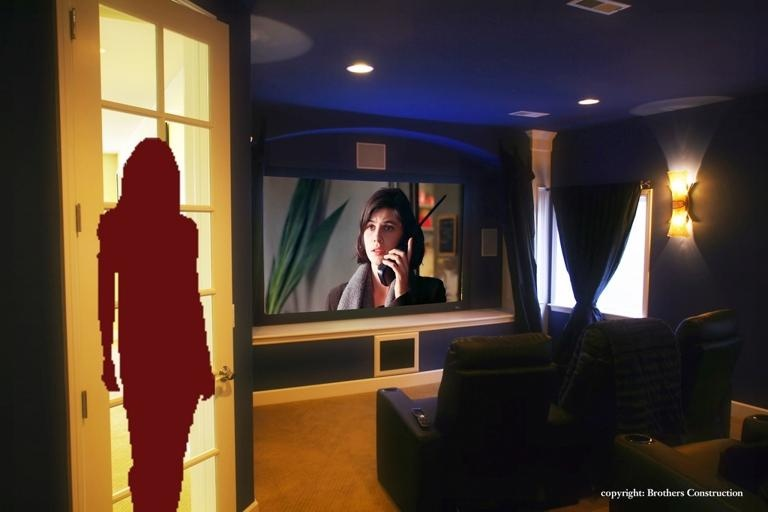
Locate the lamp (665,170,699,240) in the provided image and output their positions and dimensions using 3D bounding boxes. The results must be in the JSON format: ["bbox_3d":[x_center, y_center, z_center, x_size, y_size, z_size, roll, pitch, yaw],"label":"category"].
[{"bbox_3d":[2.817,-0.492,5.533,0.297,0.639,0.170,9,16,43],"label":"lamp"}]
